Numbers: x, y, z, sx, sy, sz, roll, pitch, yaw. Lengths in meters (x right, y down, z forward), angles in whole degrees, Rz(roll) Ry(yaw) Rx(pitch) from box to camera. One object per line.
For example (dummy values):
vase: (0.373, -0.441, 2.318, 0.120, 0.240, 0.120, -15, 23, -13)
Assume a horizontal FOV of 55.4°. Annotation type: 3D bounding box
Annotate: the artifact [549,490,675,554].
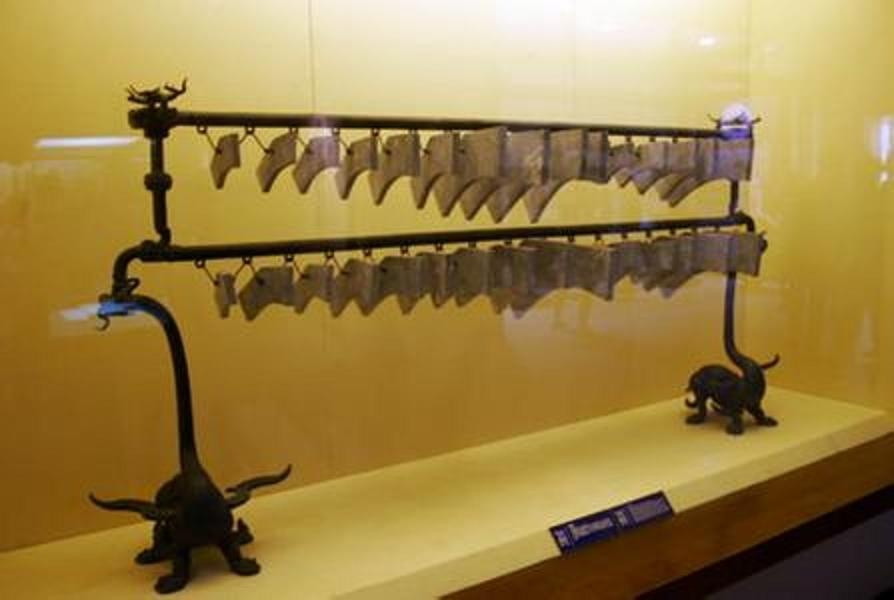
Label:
artifact: (0.471, 0.631, 2.421, 0.326, 0.080, 0.046, -18, -33, -2)
